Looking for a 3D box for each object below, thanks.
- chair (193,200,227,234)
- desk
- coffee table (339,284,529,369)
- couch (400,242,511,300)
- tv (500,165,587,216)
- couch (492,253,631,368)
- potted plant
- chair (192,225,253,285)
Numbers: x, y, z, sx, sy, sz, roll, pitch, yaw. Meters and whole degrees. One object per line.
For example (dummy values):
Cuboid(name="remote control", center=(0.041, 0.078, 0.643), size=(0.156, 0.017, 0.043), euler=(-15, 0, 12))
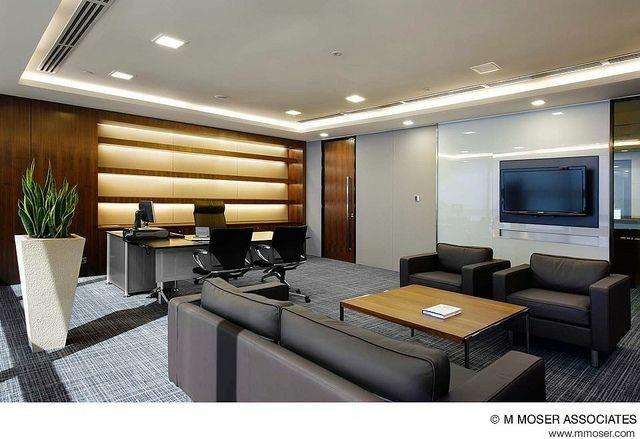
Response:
Cuboid(name="chair", center=(-1.846, -0.079, 6.382), size=(0.500, 0.628, 0.570), euler=(-1, 2, -32))
Cuboid(name="desk", center=(-2.459, 0.660, 5.776), size=(1.484, 0.588, 1.546), euler=(-4, 9, -40))
Cuboid(name="coffee table", center=(1.197, 0.910, 3.812), size=(0.924, 0.460, 1.215), euler=(-2, 3, -40))
Cuboid(name="couch", center=(1.817, 0.750, 5.308), size=(0.871, 0.695, 1.149), euler=(-5, 6, -35))
Cuboid(name="tv", center=(3.612, -0.455, 6.135), size=(0.942, 0.571, 0.129), euler=(3, 2, 40))
Cuboid(name="couch", center=(2.732, 0.940, 4.412), size=(0.878, 0.882, 1.197), euler=(-11, 9, -43))
Cuboid(name="potted plant", center=(-3.119, 0.327, 4.458), size=(0.620, 1.958, 1.448), euler=(-6, 14, -33))
Cuboid(name="chair", center=(-1.377, 0.580, 5.475), size=(0.764, 0.890, 0.846), euler=(1, 2, 41))
